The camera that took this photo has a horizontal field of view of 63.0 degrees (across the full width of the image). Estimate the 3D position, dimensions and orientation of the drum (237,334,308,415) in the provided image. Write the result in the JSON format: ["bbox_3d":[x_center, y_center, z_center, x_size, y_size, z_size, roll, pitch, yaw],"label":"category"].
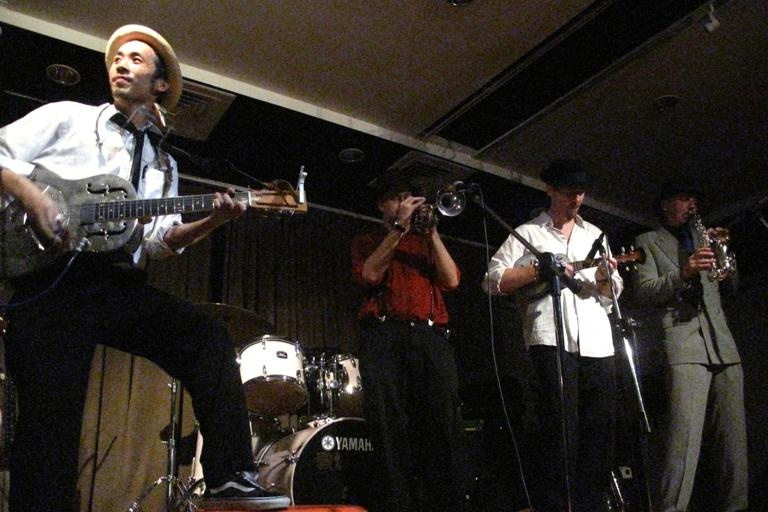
[{"bbox_3d":[-0.782,0.756,4.131,0.485,0.436,0.468,1,-51,-28],"label":"drum"}]

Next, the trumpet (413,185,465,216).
[{"bbox_3d":[0.295,-0.313,3.708,0.198,0.203,0.327,12,-4,-11],"label":"trumpet"}]

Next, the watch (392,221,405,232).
[{"bbox_3d":[0.084,-0.177,3.739,0.070,0.046,0.069,16,3,-43],"label":"watch"}]

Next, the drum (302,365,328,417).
[{"bbox_3d":[-0.520,0.947,4.404,0.239,0.386,0.396,1,-19,-10],"label":"drum"}]

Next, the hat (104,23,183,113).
[{"bbox_3d":[-1.286,-1.003,3.422,0.361,0.501,0.393,3,6,34],"label":"hat"}]

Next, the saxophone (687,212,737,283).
[{"bbox_3d":[1.974,-0.035,3.667,0.215,0.415,0.162,8,-42,8],"label":"saxophone"}]

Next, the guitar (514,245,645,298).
[{"bbox_3d":[1.149,0.090,3.770,0.797,0.304,0.127,-14,-10,28],"label":"guitar"}]

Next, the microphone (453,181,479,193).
[{"bbox_3d":[0.510,-0.412,3.661,0.074,0.045,0.106,9,1,31],"label":"microphone"}]
